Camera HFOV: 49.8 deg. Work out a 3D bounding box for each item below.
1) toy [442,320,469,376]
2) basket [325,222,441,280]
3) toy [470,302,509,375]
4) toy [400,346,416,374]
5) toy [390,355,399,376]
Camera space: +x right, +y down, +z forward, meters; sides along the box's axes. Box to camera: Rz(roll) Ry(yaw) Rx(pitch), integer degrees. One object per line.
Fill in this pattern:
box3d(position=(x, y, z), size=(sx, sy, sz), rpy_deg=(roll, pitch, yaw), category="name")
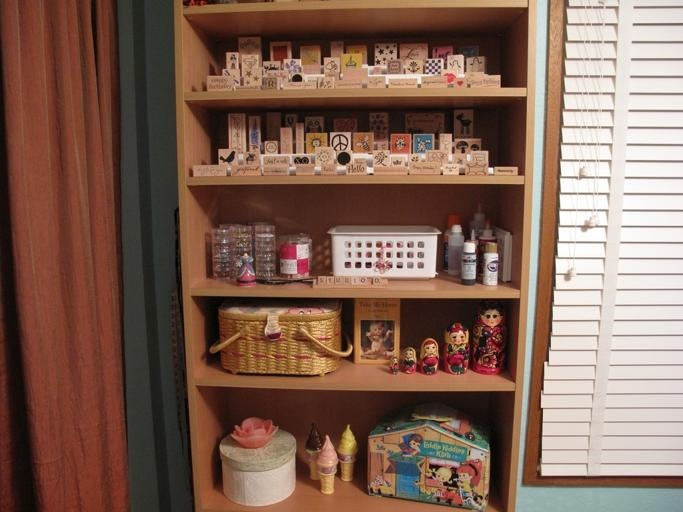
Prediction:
box3d(position=(0.463, 0.367, 2.972), size=(0.109, 0.195, 0.111), rpy_deg=(1, 5, 8), category="toy")
box3d(position=(0.174, -0.028, 2.925), size=(0.344, 0.149, 0.226), rpy_deg=(0, 4, 3), category="basket")
box3d(position=(0.594, 0.323, 2.958), size=(0.141, 0.282, 0.106), rpy_deg=(2, 5, 15), category="toy")
box3d(position=(0.269, 0.431, 3.009), size=(0.089, 0.147, 0.087), rpy_deg=(2, -6, 2), category="toy")
box3d(position=(0.214, 0.434, 2.977), size=(0.039, 0.060, 0.020), rpy_deg=(-2, 5, -27), category="toy")
